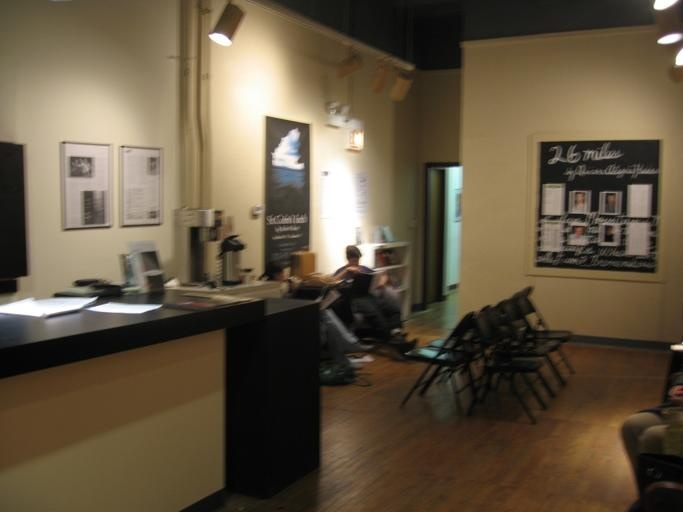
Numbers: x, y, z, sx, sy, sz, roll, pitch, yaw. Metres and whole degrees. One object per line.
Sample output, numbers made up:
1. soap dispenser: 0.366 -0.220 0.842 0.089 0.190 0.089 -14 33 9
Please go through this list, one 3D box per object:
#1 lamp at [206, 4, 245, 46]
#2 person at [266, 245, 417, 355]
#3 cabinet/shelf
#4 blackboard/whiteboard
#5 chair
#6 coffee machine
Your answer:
1. lamp: -1.127 -2.300 4.988 0.339 0.403 0.170 -1 6 -14
2. person: 0.185 0.560 6.718 1.865 1.344 0.639 -2 6 -19
3. cabinet/shelf: 0.594 0.356 7.554 0.415 1.194 1.298 -3 1 29
4. blackboard/whiteboard: 3.501 -0.657 6.836 2.069 2.387 0.102 2 2 22
5. chair: 1.384 0.676 5.029 1.156 0.872 1.639 -4 2 32
6. coffee machine: -1.429 -0.098 5.361 0.873 1.047 0.600 1 5 7
